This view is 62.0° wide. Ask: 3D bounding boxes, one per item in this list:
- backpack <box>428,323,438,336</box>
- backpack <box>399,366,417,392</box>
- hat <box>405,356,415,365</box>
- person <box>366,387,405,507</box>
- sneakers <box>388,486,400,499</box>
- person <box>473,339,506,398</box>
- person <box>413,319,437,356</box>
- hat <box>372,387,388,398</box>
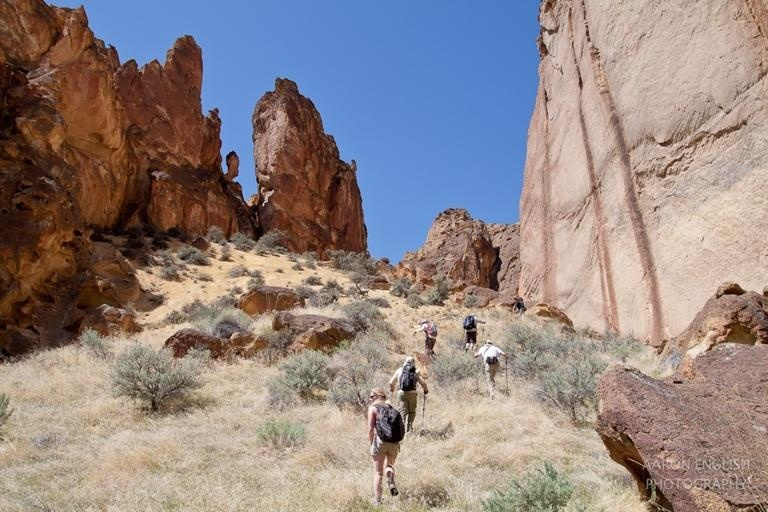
[{"bbox_3d":[1.598,2.401,20.273,0.293,0.465,0.444,1,-21,-5],"label":"backpack"},{"bbox_3d":[0.588,3.093,16.081,0.451,0.546,0.300,1,-24,1],"label":"backpack"},{"bbox_3d":[0.662,2.710,16.240,0.261,0.248,0.191,-5,6,-43],"label":"hat"},{"bbox_3d":[0.010,4.362,14.666,0.779,2.524,0.974,3,-23,-3],"label":"person"},{"bbox_3d":[0.216,5.311,14.359,0.206,0.204,0.238,0,-25,3],"label":"sneakers"},{"bbox_3d":[2.963,2.877,17.683,0.616,1.245,0.601,-2,16,12],"label":"person"},{"bbox_3d":[1.365,2.717,20.492,0.570,1.396,1.181,1,-24,3],"label":"person"},{"bbox_3d":[-0.113,3.264,15.116,0.328,0.308,0.367,2,-10,17],"label":"hat"}]
